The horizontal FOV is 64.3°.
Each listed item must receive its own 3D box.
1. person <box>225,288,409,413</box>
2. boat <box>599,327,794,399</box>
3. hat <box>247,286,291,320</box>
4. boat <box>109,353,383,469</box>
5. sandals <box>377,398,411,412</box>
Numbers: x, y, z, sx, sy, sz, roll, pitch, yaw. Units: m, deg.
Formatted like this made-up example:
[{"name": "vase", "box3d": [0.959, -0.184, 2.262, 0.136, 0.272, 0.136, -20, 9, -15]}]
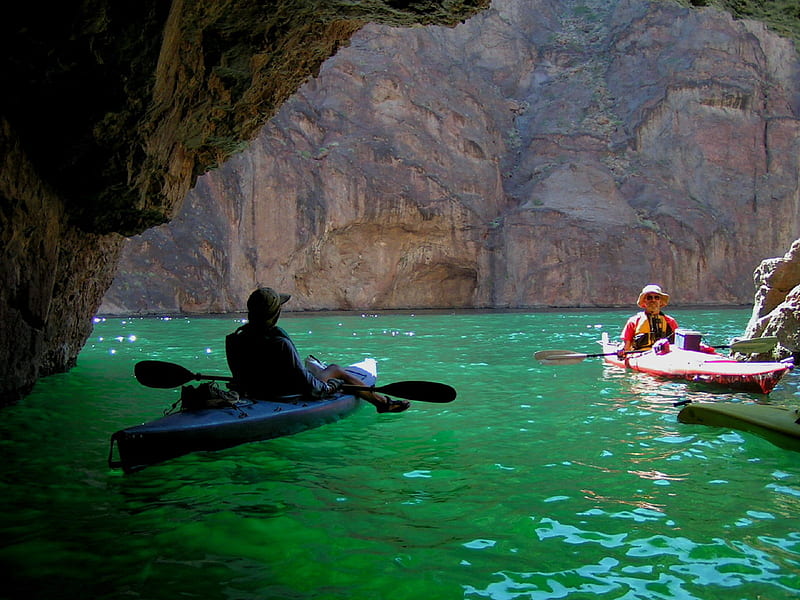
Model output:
[{"name": "person", "box3d": [-1.121, 0.507, 6.776, 1.209, 1.131, 2.278, 5, 0, 34]}, {"name": "boat", "box3d": [4.022, 0.843, 8.890, 0.866, 0.529, 2.999, -7, 0, -17]}, {"name": "hat", "box3d": [-1.203, -0.003, 5.983, 0.305, 0.197, 0.423, 13, 26, 20]}, {"name": "boat", "box3d": [-1.181, 1.067, 6.124, 0.688, 0.332, 2.957, 10, 6, 34]}, {"name": "sandals", "box3d": [-0.058, 1.171, 7.167, 0.480, 0.153, 0.127, -6, 0, 5]}]
